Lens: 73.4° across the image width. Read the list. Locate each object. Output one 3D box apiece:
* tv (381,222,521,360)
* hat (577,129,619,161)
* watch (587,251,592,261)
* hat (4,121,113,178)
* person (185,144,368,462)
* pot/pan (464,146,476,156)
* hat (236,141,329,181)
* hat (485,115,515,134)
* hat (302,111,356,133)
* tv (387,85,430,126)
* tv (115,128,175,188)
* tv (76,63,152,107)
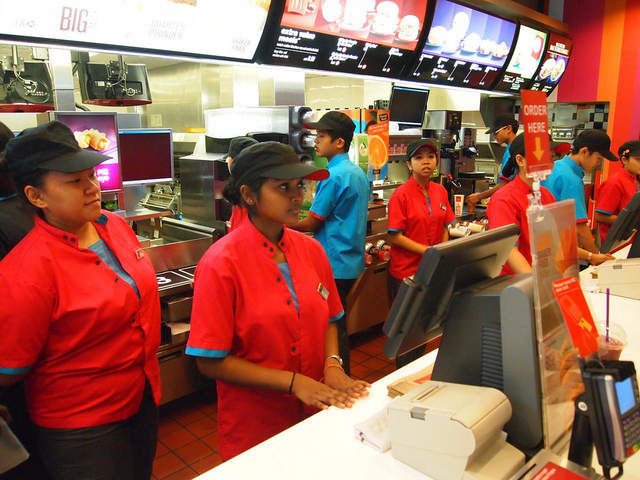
[{"bbox_3d":[0.460,0.156,1.469,0.615,0.420,0.099,-13,35,-42],"label":"tv"},{"bbox_3d":[2.553,-0.896,3.973,0.440,0.257,0.300,18,7,35],"label":"hat"},{"bbox_3d":[1.938,0.116,3.086,0.036,0.056,0.052,-1,46,24],"label":"watch"},{"bbox_3d":[-0.934,-0.313,1.564,0.303,0.139,0.218,-8,16,-6],"label":"hat"},{"bbox_3d":[-0.134,0.247,1.708,0.680,1.214,0.531,3,19,7],"label":"person"},{"bbox_3d":[1.824,-1.075,5.197,0.231,0.105,0.085,-13,24,-35],"label":"pot/pan"},{"bbox_3d":[-0.158,-0.310,1.715,0.361,0.154,0.255,3,10,26],"label":"hat"},{"bbox_3d":[2.285,-1.467,5.426,0.296,0.151,0.193,0,14,9],"label":"hat"},{"bbox_3d":[0.050,-0.887,3.190,0.324,0.117,0.206,8,16,-1],"label":"hat"},{"bbox_3d":[1.134,-1.760,5.622,0.670,0.468,0.062,-7,22,-34],"label":"tv"},{"bbox_3d":[-1.258,-0.598,3.096,0.501,0.397,0.049,1,5,20],"label":"tv"},{"bbox_3d":[-1.645,-1.372,3.485,0.503,0.506,0.254,-8,0,-37],"label":"tv"}]
